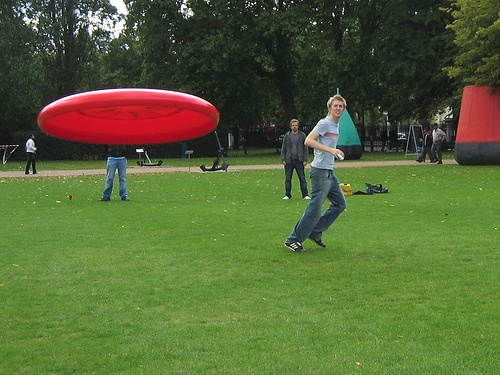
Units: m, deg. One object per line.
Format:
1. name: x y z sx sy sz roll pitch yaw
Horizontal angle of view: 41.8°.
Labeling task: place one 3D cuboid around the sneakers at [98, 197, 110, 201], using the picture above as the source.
1. sneakers: -3.870 0.326 17.366 0.264 0.111 0.090 4 -3 -21

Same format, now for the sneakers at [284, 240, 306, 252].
1. sneakers: 0.789 1.035 11.547 0.381 0.176 0.153 1 5 2

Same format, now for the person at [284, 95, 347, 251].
1. person: 1.180 -0.218 11.403 0.957 2.702 0.673 0 8 8

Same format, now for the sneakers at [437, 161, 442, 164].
1. sneakers: 8.535 -1.116 29.467 0.253 0.122 0.683 2 10 16
